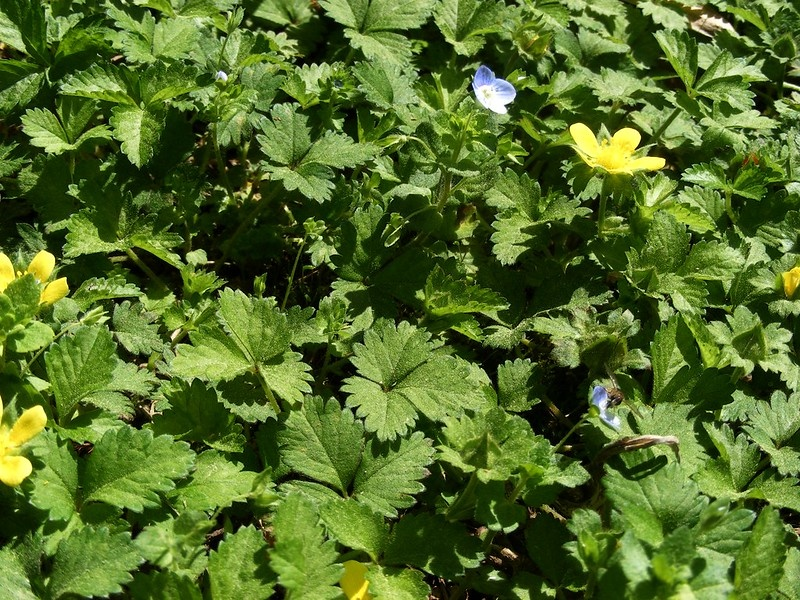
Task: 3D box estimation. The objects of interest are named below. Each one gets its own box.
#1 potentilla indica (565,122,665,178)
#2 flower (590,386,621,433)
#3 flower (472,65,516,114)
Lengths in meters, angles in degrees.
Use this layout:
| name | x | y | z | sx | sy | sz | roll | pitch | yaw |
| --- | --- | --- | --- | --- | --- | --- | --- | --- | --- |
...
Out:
| name | x | y | z | sx | sy | sz | roll | pitch | yaw |
| --- | --- | --- | --- | --- | --- | --- | --- | --- | --- |
| potentilla indica | 0.939 | -0.667 | 3.331 | 0.308 | 0.319 | 0.508 | 0 | 21 | 4 |
| flower | 0.809 | 0.430 | 2.907 | 0.162 | 0.036 | 0.192 | 1 | 64 | -58 |
| flower | 0.444 | -1.093 | 3.739 | 0.173 | 0.219 | 0.115 | 8 | 81 | -14 |
